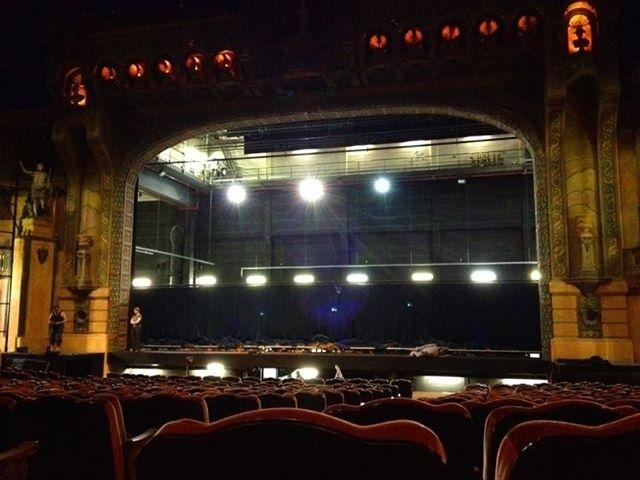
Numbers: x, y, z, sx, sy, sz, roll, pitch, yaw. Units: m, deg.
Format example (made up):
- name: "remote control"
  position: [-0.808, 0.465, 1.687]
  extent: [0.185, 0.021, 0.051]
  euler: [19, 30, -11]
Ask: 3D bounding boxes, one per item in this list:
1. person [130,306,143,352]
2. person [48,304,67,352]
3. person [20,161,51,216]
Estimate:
- name: "person"
  position: [-6.110, 2.961, 21.076]
  extent: [0.376, 1.464, 1.122]
  euler: [3, -12, -17]
- name: "person"
  position: [-8.091, 2.739, 19.547]
  extent: [0.450, 1.457, 1.598]
  euler: [4, -12, -22]
- name: "person"
  position: [-9.258, -1.549, 20.890]
  extent: [0.847, 1.787, 0.555]
  euler: [4, -13, -24]
